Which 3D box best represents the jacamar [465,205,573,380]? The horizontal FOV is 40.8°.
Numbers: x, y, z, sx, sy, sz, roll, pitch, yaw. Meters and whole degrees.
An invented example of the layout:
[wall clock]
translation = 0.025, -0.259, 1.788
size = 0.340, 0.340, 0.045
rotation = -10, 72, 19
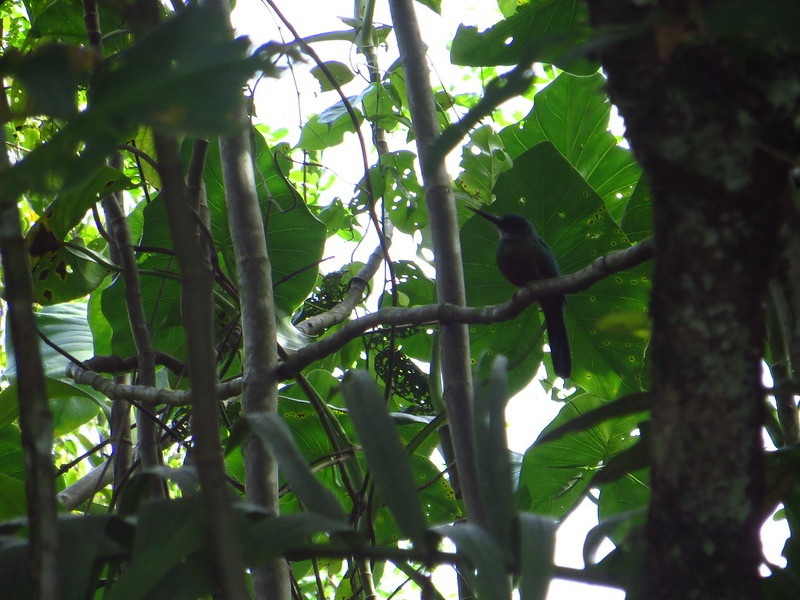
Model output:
[jacamar]
translation = 0.286, -0.026, 2.552
size = 0.112, 0.165, 0.407
rotation = -16, -69, 31
